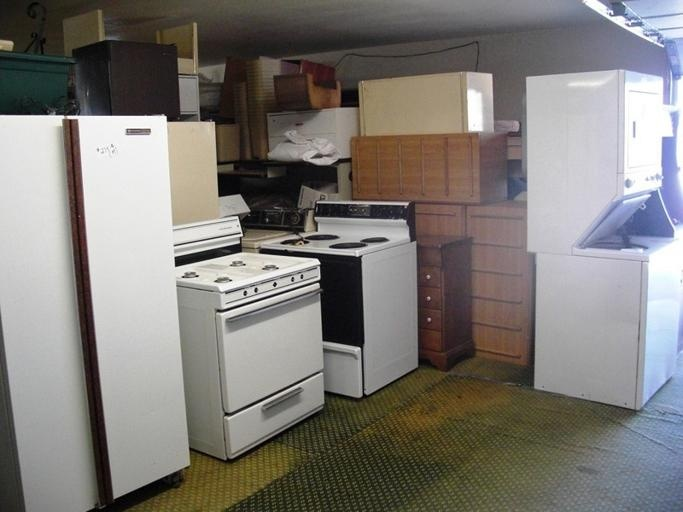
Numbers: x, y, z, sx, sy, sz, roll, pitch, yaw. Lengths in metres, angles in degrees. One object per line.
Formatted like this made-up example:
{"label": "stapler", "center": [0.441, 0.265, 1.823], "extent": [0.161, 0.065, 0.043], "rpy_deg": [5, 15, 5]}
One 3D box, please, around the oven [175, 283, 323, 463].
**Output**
{"label": "oven", "center": [-0.616, 0.667, 3.549], "extent": [0.645, 0.954, 0.852], "rpy_deg": [1, 6, 38]}

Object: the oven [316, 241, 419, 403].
{"label": "oven", "center": [0.150, 0.446, 4.213], "extent": [0.874, 1.091, 0.727], "rpy_deg": [-7, 7, -35]}
